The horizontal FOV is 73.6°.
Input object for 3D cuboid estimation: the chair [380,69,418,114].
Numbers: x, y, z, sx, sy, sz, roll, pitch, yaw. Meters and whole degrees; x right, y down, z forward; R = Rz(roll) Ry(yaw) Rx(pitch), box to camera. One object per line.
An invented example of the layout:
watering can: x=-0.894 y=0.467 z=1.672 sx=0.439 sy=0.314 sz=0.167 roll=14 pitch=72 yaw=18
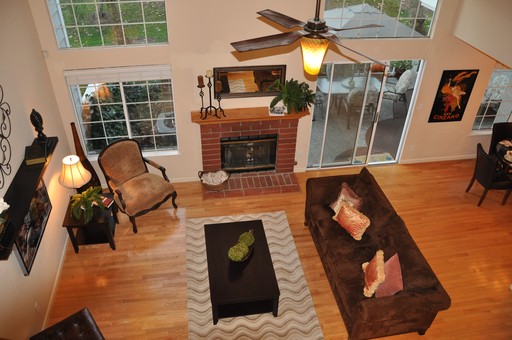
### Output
chair: x=3.689 y=-2.064 z=8.730 sx=0.805 sy=1.072 sz=0.703 roll=-2 pitch=57 yaw=12

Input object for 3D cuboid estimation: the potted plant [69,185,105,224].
potted plant: x=-3.270 y=0.637 z=6.738 sx=0.670 sy=0.278 sz=0.654 roll=16 pitch=47 yaw=22

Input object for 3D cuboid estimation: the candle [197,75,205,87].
candle: x=-1.177 y=-1.879 z=7.329 sx=0.131 sy=0.291 sz=0.373 roll=-5 pitch=24 yaw=-5

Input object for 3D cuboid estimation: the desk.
desk: x=-3.364 y=1.144 z=7.166 sx=1.087 sy=0.973 sz=1.027 roll=-5 pitch=51 yaw=-8

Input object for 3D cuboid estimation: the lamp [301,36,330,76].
lamp: x=0.758 y=-1.455 z=4.396 sx=0.386 sy=0.439 sz=0.347 roll=-18 pitch=30 yaw=-39

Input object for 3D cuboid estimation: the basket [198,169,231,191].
basket: x=-0.965 y=0.242 z=8.080 sx=0.699 sy=0.442 sz=0.441 roll=-5 pitch=25 yaw=-5

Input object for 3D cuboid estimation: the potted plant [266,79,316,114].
potted plant: x=0.815 y=-1.657 z=7.705 sx=1.010 sy=0.765 sz=0.648 roll=1 pitch=25 yaw=6

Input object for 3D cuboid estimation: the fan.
fan: x=0.968 y=-2.634 z=6.465 sx=1.947 sy=0.681 sz=1.941 roll=22 pitch=37 yaw=28
